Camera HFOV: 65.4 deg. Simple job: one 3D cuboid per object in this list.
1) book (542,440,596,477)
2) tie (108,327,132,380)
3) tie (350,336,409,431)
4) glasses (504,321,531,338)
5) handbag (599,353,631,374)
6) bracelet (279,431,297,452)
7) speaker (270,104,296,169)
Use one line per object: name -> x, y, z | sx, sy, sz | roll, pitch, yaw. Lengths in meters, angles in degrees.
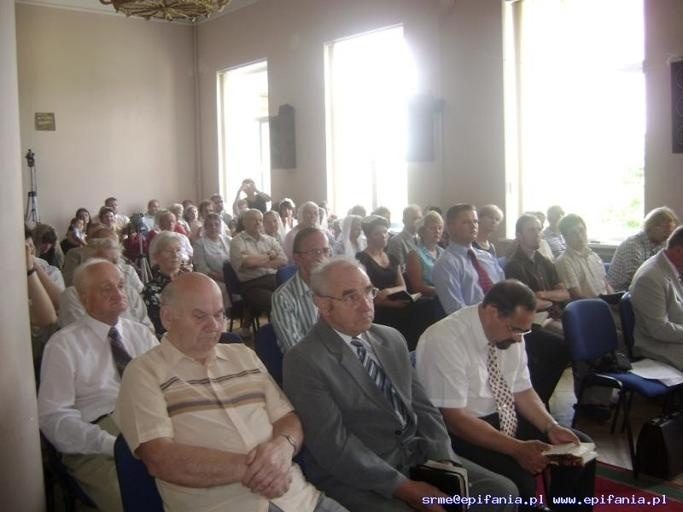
book -> 1.020, 0.903, 2.375 | 0.122, 0.052, 0.131 | -7, -1, -2
tie -> -1.077, 0.481, 2.592 | 0.048, 0.251, 0.064 | -15, -1, 5
tie -> 0.161, 0.532, 2.404 | 0.096, 0.409, 0.214 | -40, -11, 24
glasses -> 0.835, 0.359, 2.574 | 0.084, 0.029, 0.090 | 7, 20, -32
handbag -> 1.805, 0.714, 3.536 | 0.172, 0.189, 0.130 | 2, 5, 33
bracelet -> -0.207, 0.748, 2.174 | 0.026, 0.072, 0.060 | -34, 4, -40
speaker -> -1.160, -2.321, 10.368 | 0.628, 1.212, 0.172 | 3, 9, 35
